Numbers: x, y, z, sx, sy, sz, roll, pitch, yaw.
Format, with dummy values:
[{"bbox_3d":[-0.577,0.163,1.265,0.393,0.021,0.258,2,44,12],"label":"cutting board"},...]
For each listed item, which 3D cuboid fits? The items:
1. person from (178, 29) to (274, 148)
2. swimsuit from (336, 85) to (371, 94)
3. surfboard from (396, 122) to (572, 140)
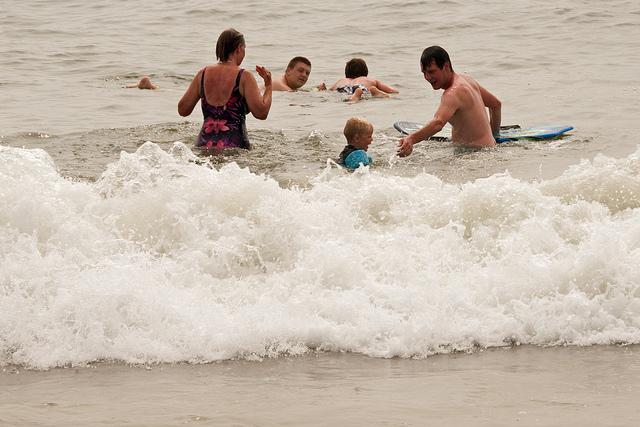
[{"bbox_3d":[-1.097,-1.371,10.871,0.991,1.347,0.400,-7,24,-6],"label":"person"},{"bbox_3d":[0.521,-1.905,14.923,0.381,0.113,0.197,-1,6,-7],"label":"swimsuit"},{"bbox_3d":[1.993,-1.005,11.837,1.222,0.144,0.337,5,26,15],"label":"surfboard"}]
